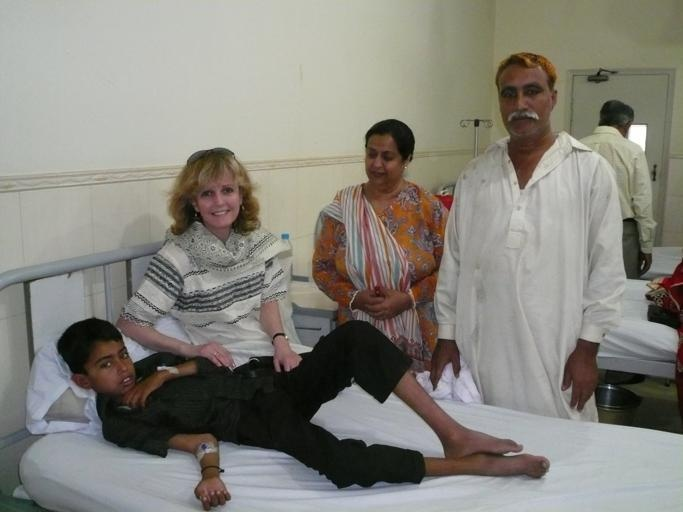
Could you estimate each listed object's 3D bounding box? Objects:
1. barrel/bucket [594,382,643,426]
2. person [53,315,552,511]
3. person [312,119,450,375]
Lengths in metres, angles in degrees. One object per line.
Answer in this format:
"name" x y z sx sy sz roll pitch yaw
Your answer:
"barrel/bucket" 1.690 0.897 3.585 0.238 0.236 0.267 1 -5 0
"person" -0.224 0.618 2.366 1.575 0.561 0.825 4 27 15
"person" 0.244 0.140 3.098 0.673 1.666 0.666 -2 36 8
